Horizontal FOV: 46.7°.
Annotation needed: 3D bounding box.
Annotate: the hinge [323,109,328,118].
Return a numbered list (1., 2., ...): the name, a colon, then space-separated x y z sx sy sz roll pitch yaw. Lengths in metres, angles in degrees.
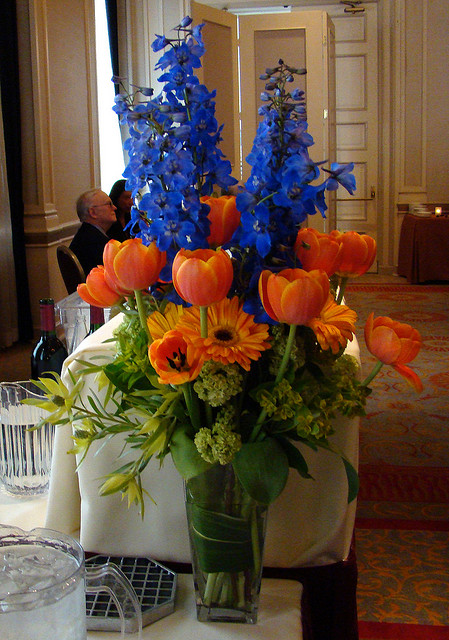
1. hinge: 1.205 -2.478 6.235 0.091 0.077 0.021 -9 12 -43

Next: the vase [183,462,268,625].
1. vase: 0.008 0.214 0.537 0.073 0.174 0.080 1 10 9

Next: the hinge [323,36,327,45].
1. hinge: 1.168 -3.266 6.050 0.006 0.078 0.076 8 3 41

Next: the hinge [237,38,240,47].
1. hinge: 0.153 -3.198 5.969 0.024 0.082 0.049 8 3 33

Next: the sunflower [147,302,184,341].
1. sunflower: -0.053 0.000 0.463 0.034 0.013 0.033 -22 40 10
